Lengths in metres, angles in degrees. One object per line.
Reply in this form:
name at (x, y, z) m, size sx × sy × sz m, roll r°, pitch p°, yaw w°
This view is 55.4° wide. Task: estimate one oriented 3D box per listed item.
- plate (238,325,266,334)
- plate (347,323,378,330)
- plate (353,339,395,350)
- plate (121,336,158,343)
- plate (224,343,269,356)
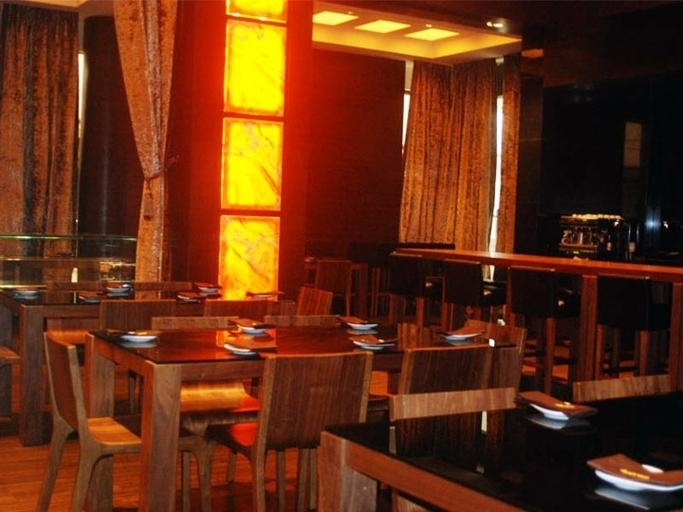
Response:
plate at (-0.442, 0.366, 3.203) m, size 0.135 × 0.030 × 0.100 m, roll 2°, pitch 0°, yaw -11°
plate at (0.113, 0.381, 3.484) m, size 0.158 × 0.037 × 0.150 m, roll 2°, pitch 0°, yaw 4°
plate at (0.148, 0.412, 3.028) m, size 0.202 × 0.038 × 0.184 m, roll 2°, pitch 0°, yaw 4°
plate at (-0.895, 0.365, 2.849) m, size 0.145 × 0.031 × 0.105 m, roll 2°, pitch 0°, yaw -18°
plate at (-0.400, 0.397, 2.777) m, size 0.211 × 0.041 × 0.168 m, roll 2°, pitch 0°, yaw -8°
